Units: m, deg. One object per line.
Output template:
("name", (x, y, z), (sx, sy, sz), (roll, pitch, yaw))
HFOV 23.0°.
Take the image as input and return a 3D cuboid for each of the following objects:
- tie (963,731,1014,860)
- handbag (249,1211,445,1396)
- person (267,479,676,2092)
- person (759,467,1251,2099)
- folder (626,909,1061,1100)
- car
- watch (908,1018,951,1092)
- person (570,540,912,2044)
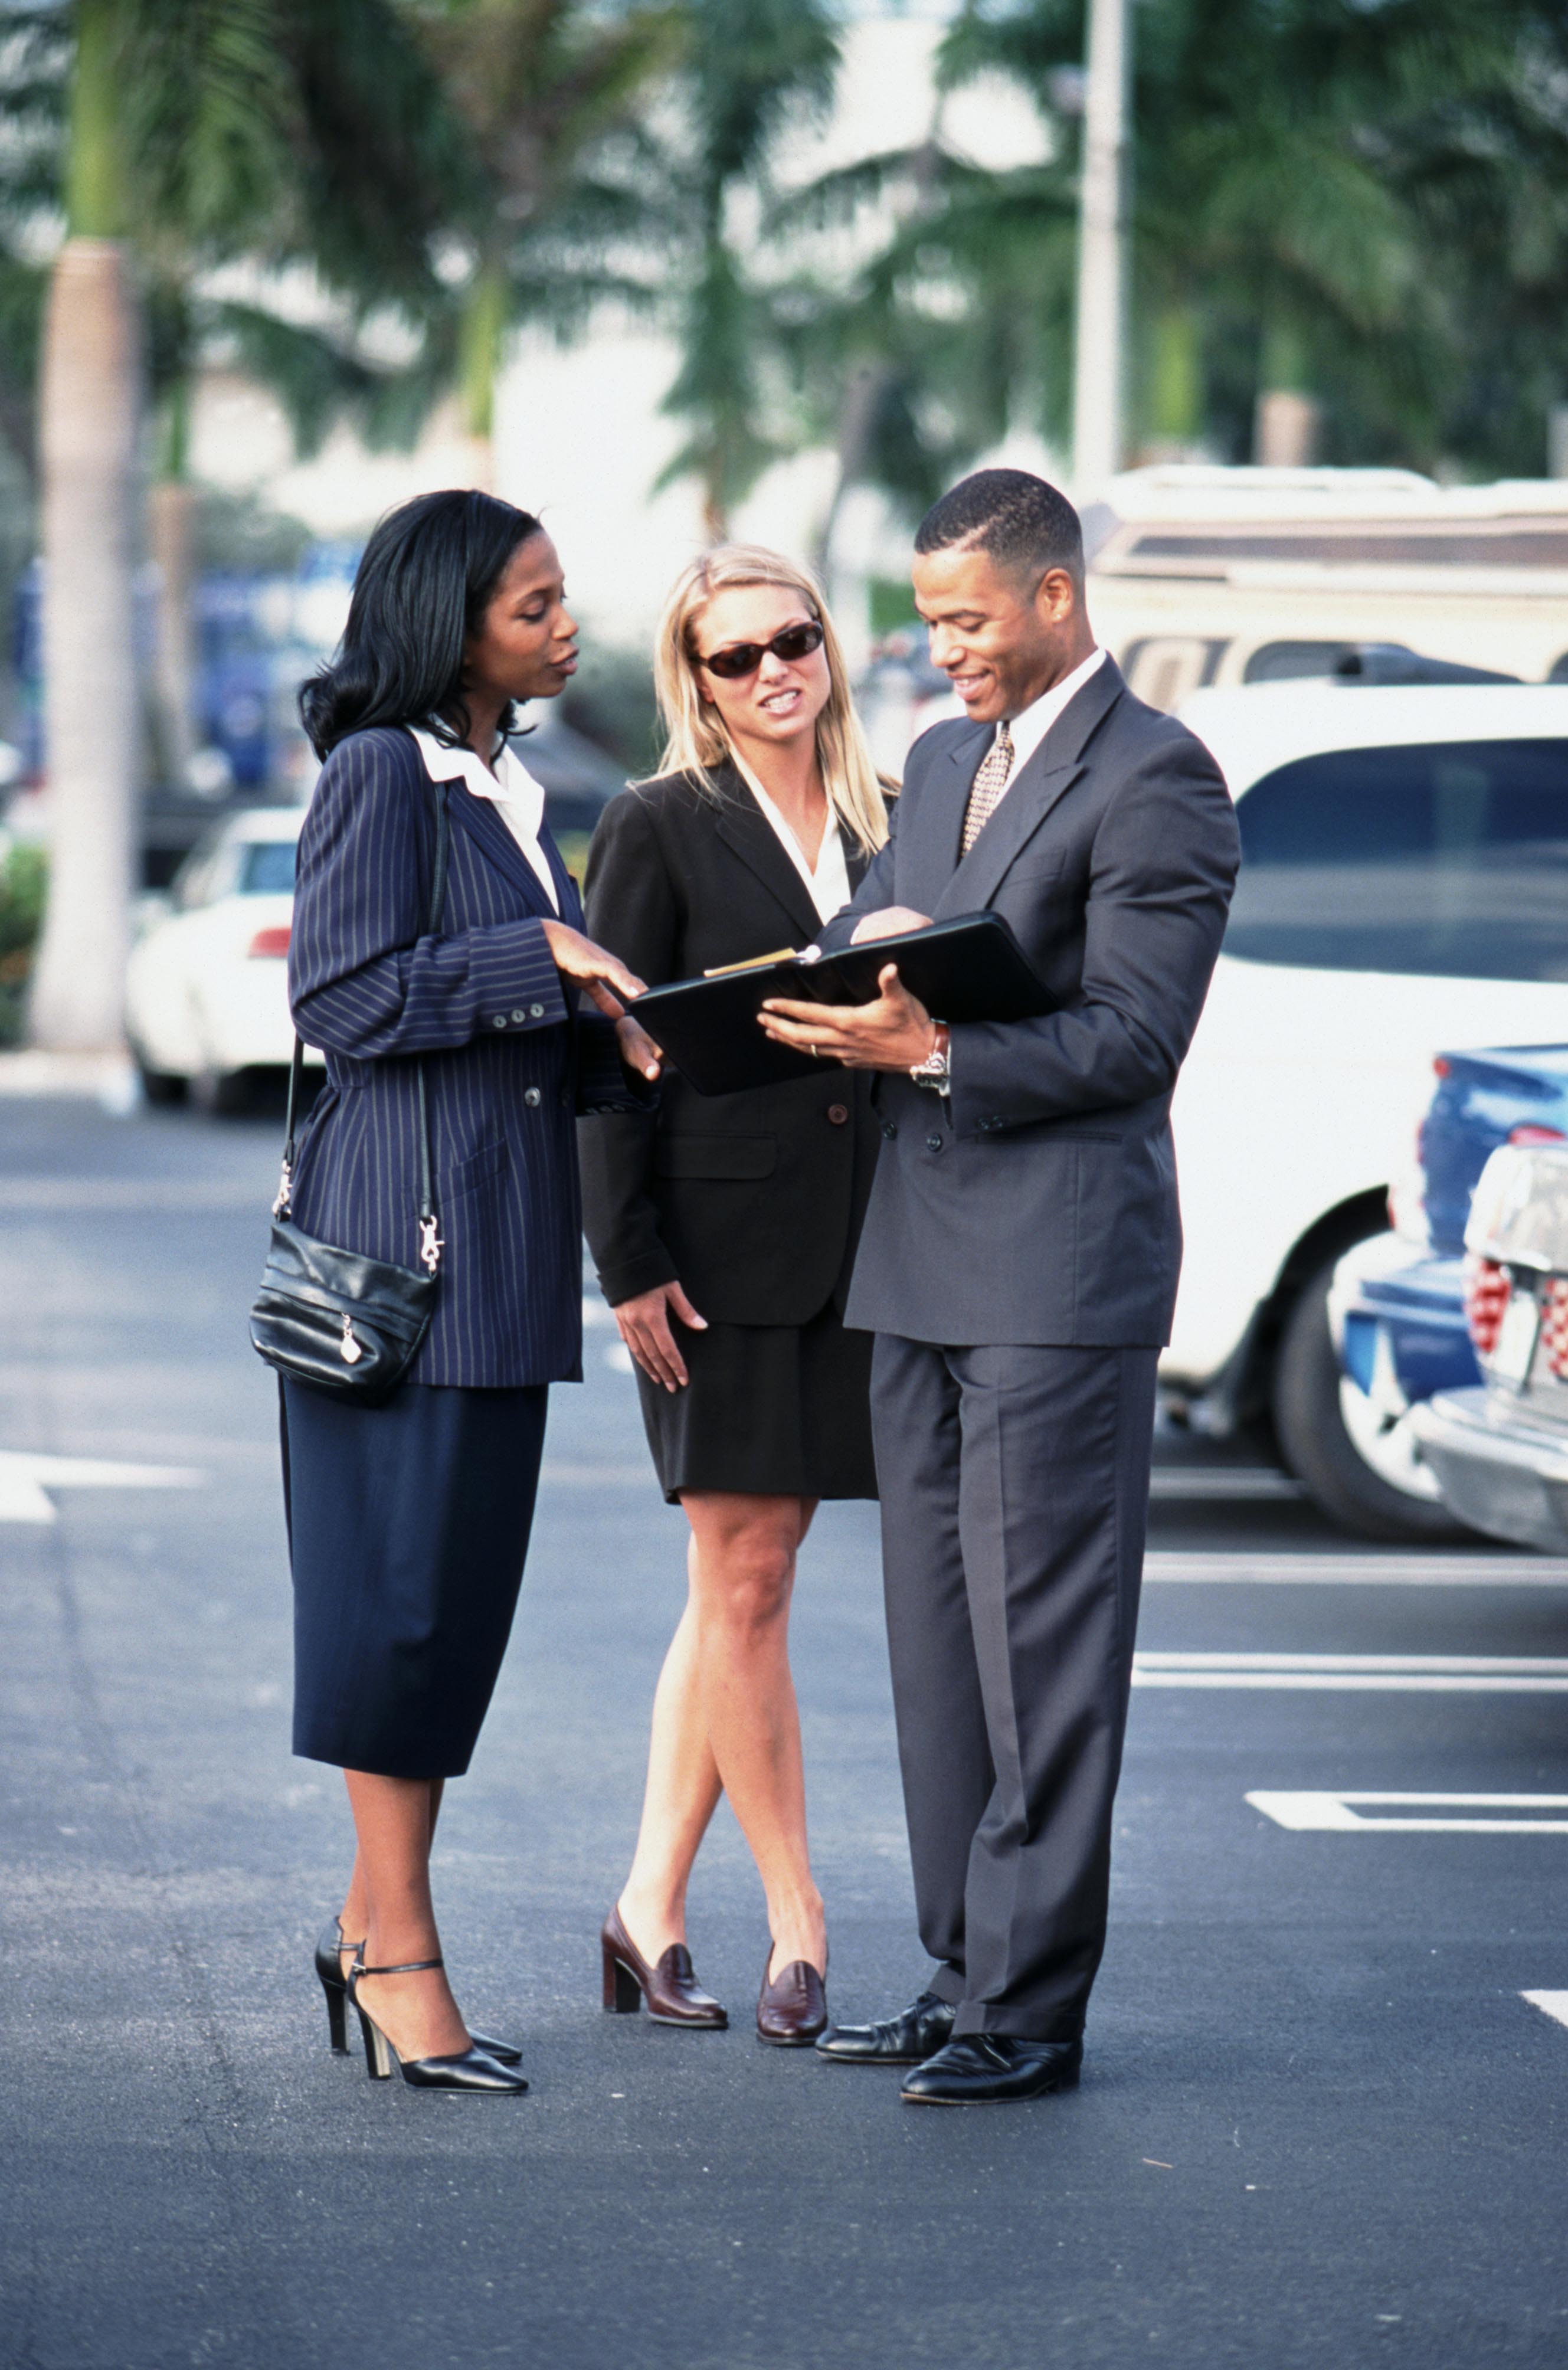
("tie", (0.233, -0.467, 4.552), (0.011, 0.163, 0.044), (19, -2, -37))
("handbag", (-0.513, 0.140, 4.410), (0.238, 0.236, 0.087), (12, 6, 32))
("person", (-0.384, 0.151, 4.536), (0.447, 1.903, 0.504), (1, 12, -2))
("person", (0.187, 0.127, 4.555), (0.618, 1.829, 0.601), (-2, 6, -22))
("folder", (0.068, -0.198, 4.395), (0.413, 0.044, 0.263), (-12, -30, 22))
("car", (-2.825, -1.092, 19.806), (1.376, 1.324, 3.147), (0, 9, -10))
("watch", (0.168, -0.146, 4.368), (0.047, 0.063, 0.069), (7, -33, 24))
("person", (-0.018, 0.132, 4.892), (0.601, 1.850, 0.501), (0, -2, 9))
